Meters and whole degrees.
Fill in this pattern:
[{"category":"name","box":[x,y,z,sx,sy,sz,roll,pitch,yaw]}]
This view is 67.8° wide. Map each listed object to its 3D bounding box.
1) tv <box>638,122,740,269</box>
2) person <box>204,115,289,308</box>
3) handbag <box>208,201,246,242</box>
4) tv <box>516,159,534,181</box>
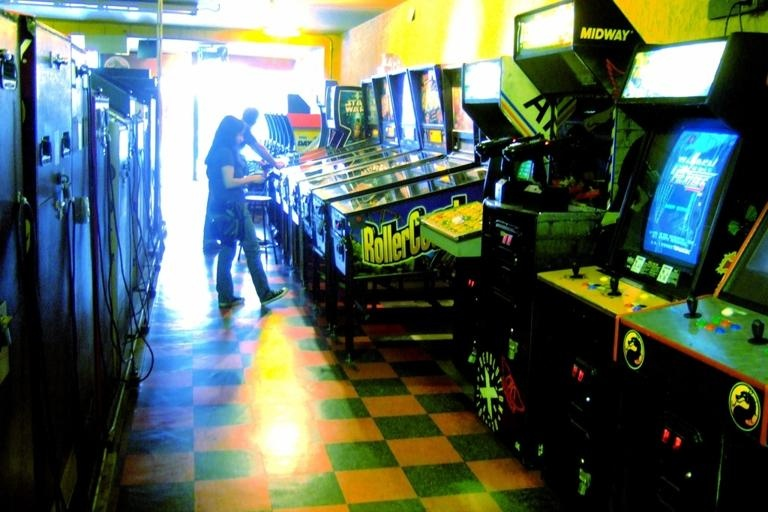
[{"category":"tv","box":[1.361,-0.300,2.612,0.284,0.618,0.323,-10,16,-33]},{"category":"person","box":[-1.433,-0.461,5.762,0.631,1.852,0.913,-5,14,-17]},{"category":"handbag","box":[-1.526,-0.347,5.625,0.418,0.420,0.263,-2,-9,36]},{"category":"tv","box":[0.846,-0.509,3.407,0.075,0.112,0.137,-6,14,-19]}]
